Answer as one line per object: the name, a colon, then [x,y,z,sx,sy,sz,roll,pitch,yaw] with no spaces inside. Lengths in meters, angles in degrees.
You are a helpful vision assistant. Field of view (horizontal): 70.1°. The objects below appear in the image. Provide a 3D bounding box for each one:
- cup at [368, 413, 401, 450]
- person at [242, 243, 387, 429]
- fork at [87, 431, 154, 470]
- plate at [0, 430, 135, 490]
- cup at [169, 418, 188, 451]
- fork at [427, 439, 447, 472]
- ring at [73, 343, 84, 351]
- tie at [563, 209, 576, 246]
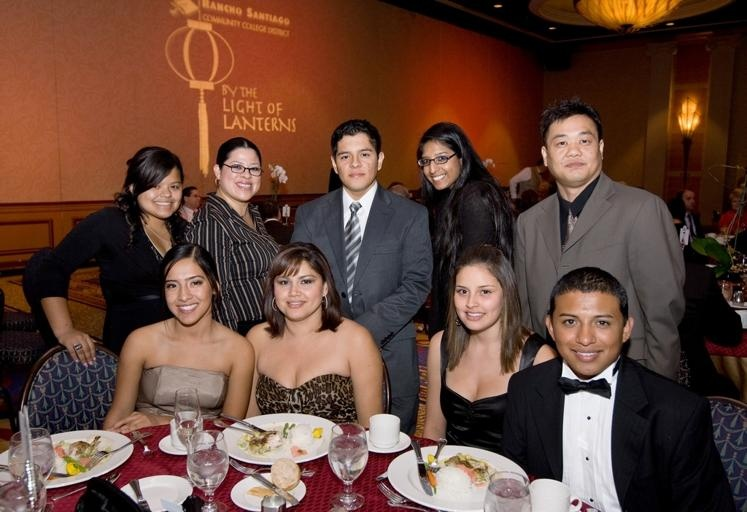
cup: [0.043,0.729,2.207,0.118,0.109,0.130,0,-4,0]
person: [-0.289,0.458,2.885,0.682,1.327,0.436,-4,-12,10]
fork: [-1.045,0.778,2.279,0.056,0.057,0.360,7,17,28]
plate: [-1.196,0.812,2.150,0.314,0.052,0.333,10,3,33]
cup: [-0.818,0.757,2.265,0.091,0.122,0.106,-2,0,-6]
fork: [0.245,0.806,2.147,0.038,0.028,0.175,11,6,15]
ring: [-1.565,0.482,2.822,0.036,0.037,0.037,2,22,-1]
tie: [1.077,-0.171,2.920,0.040,0.250,0.058,6,-5,-8]
